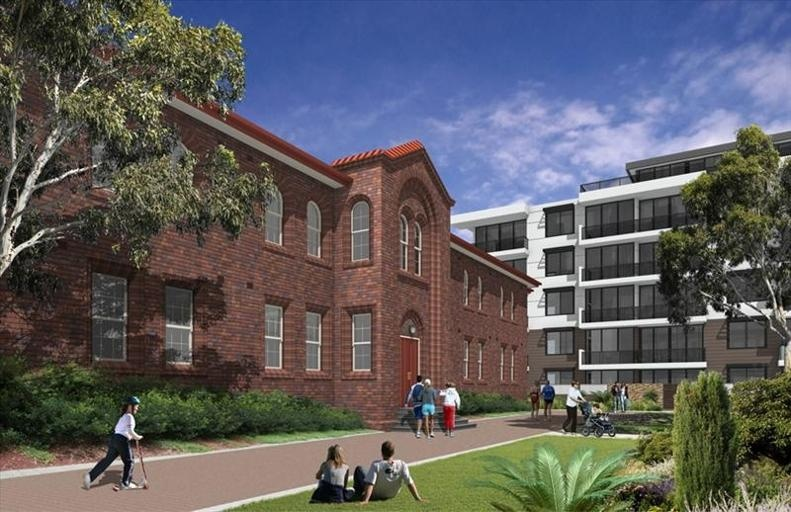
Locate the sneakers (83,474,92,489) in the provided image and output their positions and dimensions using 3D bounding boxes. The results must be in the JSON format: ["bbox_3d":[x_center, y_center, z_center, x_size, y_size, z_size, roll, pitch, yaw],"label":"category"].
[{"bbox_3d":[-7.688,5.598,17.647,0.153,0.425,0.175,-1,-4,-1],"label":"sneakers"}]

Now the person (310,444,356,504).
[{"bbox_3d":[-1.739,5.628,18.384,1.071,1.373,1.313,4,-11,-8],"label":"person"}]

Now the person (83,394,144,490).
[{"bbox_3d":[-7.281,4.814,18.433,1.177,2.344,1.120,5,-17,-20],"label":"person"}]

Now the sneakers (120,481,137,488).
[{"bbox_3d":[-6.855,5.853,18.179,0.399,0.196,0.230,5,-19,-20],"label":"sneakers"}]

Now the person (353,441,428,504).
[{"bbox_3d":[-0.453,5.612,18.622,1.186,0.990,1.853,1,-8,-9],"label":"person"}]
